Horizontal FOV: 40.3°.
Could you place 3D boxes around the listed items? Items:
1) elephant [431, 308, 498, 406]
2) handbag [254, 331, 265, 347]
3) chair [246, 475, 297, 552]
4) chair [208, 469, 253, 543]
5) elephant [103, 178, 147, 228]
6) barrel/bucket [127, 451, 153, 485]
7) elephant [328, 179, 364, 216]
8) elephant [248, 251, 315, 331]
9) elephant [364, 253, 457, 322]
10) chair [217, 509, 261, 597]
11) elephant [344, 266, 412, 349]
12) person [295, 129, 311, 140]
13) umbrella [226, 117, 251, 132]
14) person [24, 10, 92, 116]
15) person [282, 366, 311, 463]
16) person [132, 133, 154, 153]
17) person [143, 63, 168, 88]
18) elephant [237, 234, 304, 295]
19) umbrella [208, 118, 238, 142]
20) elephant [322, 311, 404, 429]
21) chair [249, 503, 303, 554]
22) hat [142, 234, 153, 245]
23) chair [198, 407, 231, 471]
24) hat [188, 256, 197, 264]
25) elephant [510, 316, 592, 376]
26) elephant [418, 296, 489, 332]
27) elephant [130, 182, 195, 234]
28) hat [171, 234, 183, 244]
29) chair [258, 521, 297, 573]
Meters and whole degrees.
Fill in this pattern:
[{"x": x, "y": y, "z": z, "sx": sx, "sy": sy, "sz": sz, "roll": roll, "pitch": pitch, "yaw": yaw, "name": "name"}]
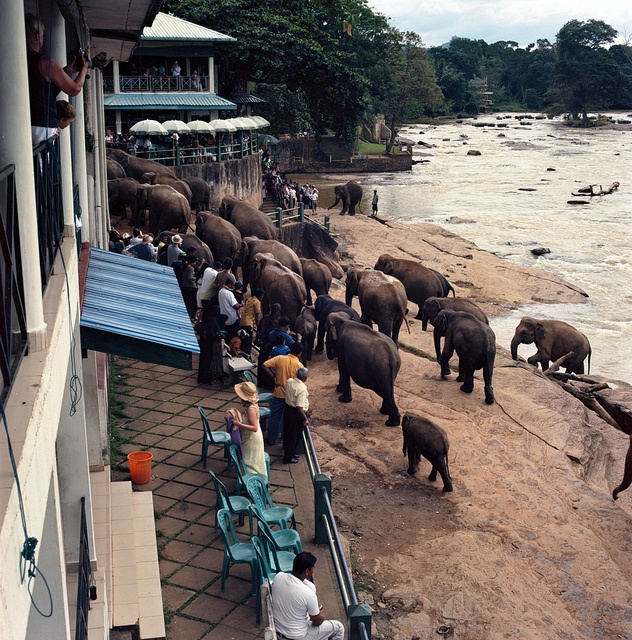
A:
[{"x": 2.408, "y": 0.470, "z": 14.368, "sx": 0.615, "sy": 1.295, "sz": 1.991, "roll": -5, "pitch": 14, "yaw": -19, "name": "elephant"}, {"x": -0.847, "y": 0.288, "z": 12.807, "sx": 0.124, "sy": 0.225, "sz": 0.155, "roll": -23, "pitch": 45, "yaw": -36, "name": "handbag"}, {"x": -0.382, "y": 1.757, "z": 7.759, "sx": 0.470, "sy": 0.641, "sz": 0.424, "roll": 3, "pitch": 8, "yaw": 36, "name": "chair"}, {"x": -0.810, "y": 1.786, "z": 8.143, "sx": 0.442, "sy": 0.779, "sz": 0.443, "roll": -5, "pitch": 23, "yaw": -11, "name": "chair"}, {"x": -4.435, "y": -2.735, "z": 19.564, "sx": 1.614, "sy": 1.018, "sz": 0.631, "roll": 13, "pitch": 9, "yaw": 28, "name": "elephant"}, {"x": -1.837, "y": 1.515, "z": 8.943, "sx": 0.272, "sy": 0.271, "sz": 0.291, "roll": 1, "pitch": 7, "yaw": 0, "name": "barrel/bucket"}, {"x": 1.243, "y": -4.883, "z": 34.458, "sx": 0.942, "sy": 1.315, "sz": 1.534, "roll": -1, "pitch": 13, "yaw": -11, "name": "elephant"}, {"x": -0.764, "y": -0.543, "z": 15.252, "sx": 0.570, "sy": 1.112, "sz": 1.774, "roll": -15, "pitch": 28, "yaw": -35, "name": "elephant"}, {"x": 2.042, "y": -0.980, "z": 19.222, "sx": 2.029, "sy": 1.081, "sz": 0.931, "roll": 36, "pitch": 36, "yaw": 26, "name": "elephant"}, {"x": -0.634, "y": 1.959, "z": 7.293, "sx": 0.405, "sy": 0.628, "sz": 0.384, "roll": 6, "pitch": 10, "yaw": 15, "name": "chair"}, {"x": 1.018, "y": -0.299, "z": 16.129, "sx": 0.542, "sy": 1.249, "sz": 1.952, "roll": -9, "pitch": 18, "yaw": -26, "name": "elephant"}, {"x": -0.762, "y": -12.038, "z": 55.714, "sx": 0.848, "sy": 0.454, "sz": 2.425, "roll": 4, "pitch": 14, "yaw": 10, "name": "person"}, {"x": -2.362, "y": -6.086, "z": 26.684, "sx": 0.614, "sy": 0.249, "sz": 0.609, "roll": -11, "pitch": 17, "yaw": -42, "name": "umbrella"}, {"x": -1.644, "y": -1.468, "z": 5.483, "sx": 0.406, "sy": 0.814, "sz": 0.340, "roll": -10, "pitch": 34, "yaw": -28, "name": "person"}, {"x": -0.242, "y": 1.066, "z": 9.568, "sx": 0.257, "sy": 1.188, "sz": 0.443, "roll": 1, "pitch": 12, "yaw": -3, "name": "person"}, {"x": -4.828, "y": -4.911, "z": 23.912, "sx": 0.519, "sy": 0.912, "sz": 0.487, "roll": 0, "pitch": 11, "yaw": -3, "name": "person"}, {"x": -5.595, "y": -8.358, "z": 29.810, "sx": 0.762, "sy": 0.813, "sz": 0.852, "roll": -3, "pitch": 14, "yaw": -20, "name": "person"}, {"x": -1.016, "y": -1.157, "z": 16.864, "sx": 0.687, "sy": 0.994, "sz": 1.760, "roll": -13, "pitch": 27, "yaw": -28, "name": "elephant"}, {"x": -2.928, "y": -5.874, "z": 26.683, "sx": 0.983, "sy": 0.405, "sz": 1.015, "roll": 3, "pitch": 19, "yaw": 4, "name": "umbrella"}, {"x": 0.573, "y": 0.543, "z": 12.930, "sx": 0.788, "sy": 1.218, "sz": 1.787, "roll": -20, "pitch": 33, "yaw": -35, "name": "elephant"}, {"x": -0.340, "y": 1.803, "z": 7.295, "sx": 0.402, "sy": 0.559, "sz": 0.341, "roll": -8, "pitch": 37, "yaw": 2, "name": "chair"}, {"x": -2.669, "y": -1.296, "z": 13.473, "sx": 0.151, "sy": 0.219, "sz": 0.091, "roll": -3, "pitch": -21, "yaw": 0, "name": "hat"}, {"x": -1.107, "y": 1.281, "z": 9.381, "sx": 0.369, "sy": 0.614, "sz": 0.334, "roll": 0, "pitch": 10, "yaw": -19, "name": "chair"}, {"x": -1.905, "y": -0.926, "z": 13.187, "sx": 0.083, "sy": 0.123, "sz": 0.283, "roll": 2, "pitch": 13, "yaw": 5, "name": "hat"}, {"x": 4.721, "y": 0.607, "z": 17.365, "sx": 1.684, "sy": 1.199, "sz": 0.640, "roll": 10, "pitch": -2, "yaw": -2, "name": "elephant"}, {"x": 2.507, "y": -0.106, "z": 15.852, "sx": 1.189, "sy": 0.787, "sz": 0.535, "roll": 1, "pitch": 12, "yaw": 8, "name": "elephant"}, {"x": -3.422, "y": -2.388, "z": 18.644, "sx": 1.799, "sy": 1.213, "sz": 0.675, "roll": 23, "pitch": 27, "yaw": 38, "name": "elephant"}, {"x": -2.244, "y": -1.308, "z": 13.754, "sx": 0.136, "sy": 0.057, "sz": 0.161, "roll": 13, "pitch": 52, "yaw": -28, "name": "hat"}, {"x": -0.333, "y": 1.914, "z": 7.085, "sx": 0.365, "sy": 0.502, "sz": 0.299, "roll": -2, "pitch": 37, "yaw": 2, "name": "chair"}]
